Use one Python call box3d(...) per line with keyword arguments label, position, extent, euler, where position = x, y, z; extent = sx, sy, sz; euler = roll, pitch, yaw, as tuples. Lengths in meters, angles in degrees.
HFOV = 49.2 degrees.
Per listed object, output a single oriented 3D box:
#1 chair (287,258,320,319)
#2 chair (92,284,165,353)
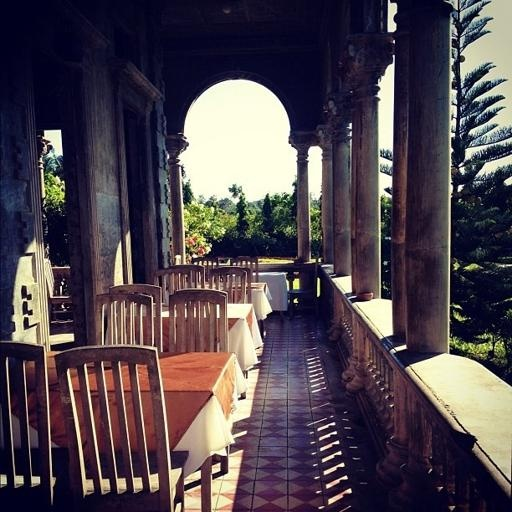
box3d(label="chair", position=(0.808, 0.542, 9.277), extent=(0.566, 1.382, 0.747), euler=(1, -1, -2))
box3d(label="chair", position=(-0.886, 0.463, 3.911), extent=(0.439, 0.499, 1.008), euler=(-5, 4, -18))
